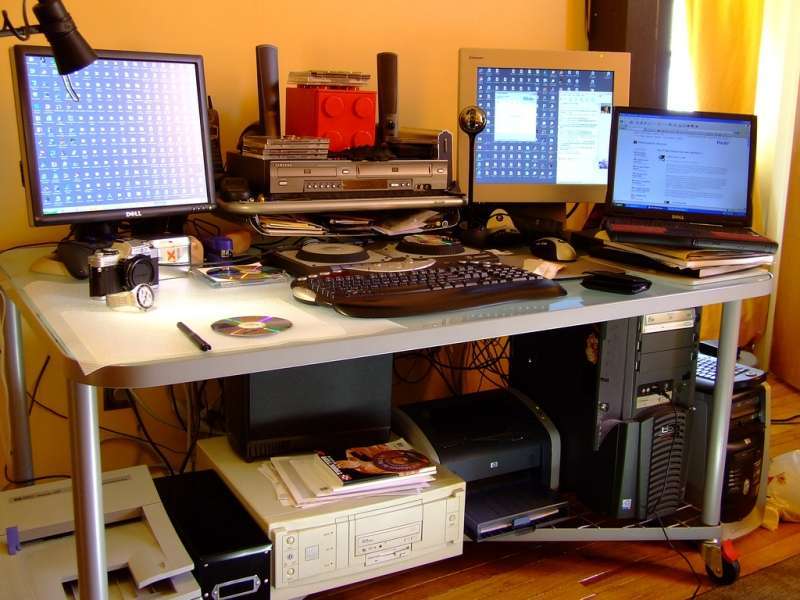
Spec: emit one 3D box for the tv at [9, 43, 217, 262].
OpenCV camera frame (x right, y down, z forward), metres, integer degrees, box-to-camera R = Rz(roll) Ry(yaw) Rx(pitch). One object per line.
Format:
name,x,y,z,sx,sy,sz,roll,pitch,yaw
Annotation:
tv,-0.722,-0.370,1.594,0.747,0.507,0.079,-8,7,-38

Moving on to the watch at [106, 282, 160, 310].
watch,-0.568,-0.013,1.360,0.079,0.037,0.069,-4,19,4

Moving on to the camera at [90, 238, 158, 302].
camera,-0.619,-0.076,1.433,0.104,0.110,0.179,15,20,14

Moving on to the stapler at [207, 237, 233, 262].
stapler,-0.485,-0.136,1.710,0.085,0.051,0.055,11,19,29

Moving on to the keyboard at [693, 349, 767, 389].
keyboard,1.056,0.237,2.044,0.142,0.027,0.228,-9,17,-25

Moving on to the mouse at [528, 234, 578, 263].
mouse,0.438,-0.150,1.790,0.070,0.035,0.119,-12,17,-36

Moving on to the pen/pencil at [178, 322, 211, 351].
pen/pencil,-0.386,0.069,1.190,0.018,0.017,0.127,-28,29,-32

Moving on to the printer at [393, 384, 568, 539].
printer,0.260,0.461,1.979,0.368,0.201,0.460,-8,19,-23

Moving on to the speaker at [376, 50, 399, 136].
speaker,-0.045,-0.646,2.027,0.084,0.270,0.162,-4,20,7
